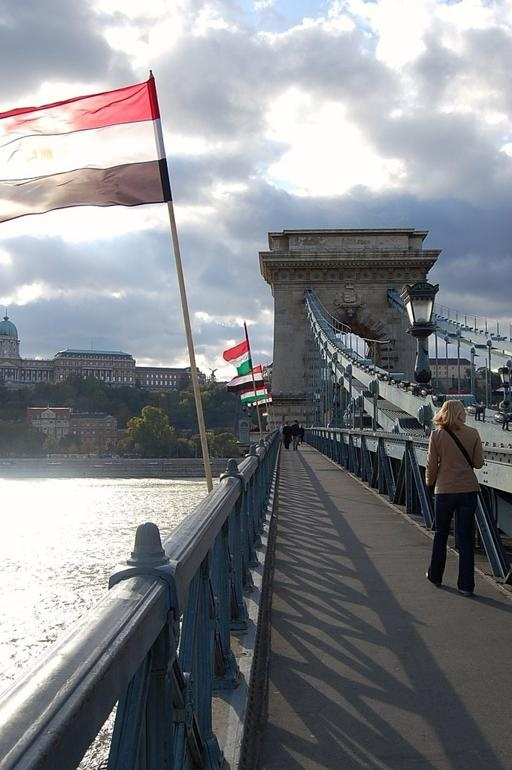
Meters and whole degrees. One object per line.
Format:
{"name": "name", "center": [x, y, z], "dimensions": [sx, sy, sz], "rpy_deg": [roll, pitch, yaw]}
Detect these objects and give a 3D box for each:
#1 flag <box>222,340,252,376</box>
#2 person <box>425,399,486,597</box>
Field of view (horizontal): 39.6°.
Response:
{"name": "flag", "center": [-0.510, -0.790, 22.474], "dimensions": [0.747, 1.184, 2.426], "rpy_deg": [-5, 4, -9]}
{"name": "person", "center": [1.418, 0.777, 4.942], "dimensions": [0.394, 1.302, 0.531], "rpy_deg": [-5, 4, -15]}
